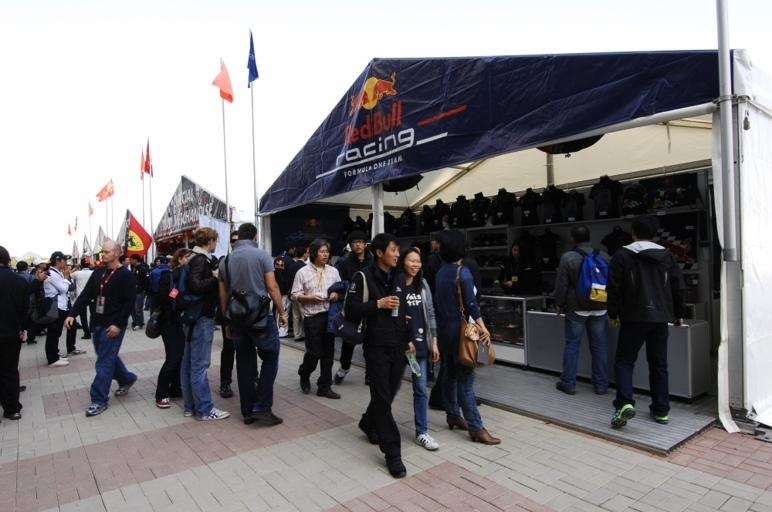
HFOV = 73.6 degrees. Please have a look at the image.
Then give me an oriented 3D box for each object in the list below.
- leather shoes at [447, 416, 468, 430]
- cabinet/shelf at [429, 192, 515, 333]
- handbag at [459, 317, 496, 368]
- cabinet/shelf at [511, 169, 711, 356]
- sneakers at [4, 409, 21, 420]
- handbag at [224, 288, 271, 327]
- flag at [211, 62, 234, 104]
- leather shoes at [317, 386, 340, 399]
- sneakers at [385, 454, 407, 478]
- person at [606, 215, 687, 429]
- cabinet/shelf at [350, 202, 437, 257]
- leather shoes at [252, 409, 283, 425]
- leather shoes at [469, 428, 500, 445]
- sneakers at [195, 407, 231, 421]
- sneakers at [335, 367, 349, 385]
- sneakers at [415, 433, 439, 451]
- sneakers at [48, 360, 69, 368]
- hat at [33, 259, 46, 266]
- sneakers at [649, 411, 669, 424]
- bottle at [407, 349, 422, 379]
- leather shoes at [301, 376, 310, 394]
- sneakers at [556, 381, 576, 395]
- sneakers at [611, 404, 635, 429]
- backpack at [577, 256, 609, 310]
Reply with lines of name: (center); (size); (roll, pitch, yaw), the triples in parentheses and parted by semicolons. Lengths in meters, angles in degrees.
leather shoes: (0.917, 2.191, 6.670); (0.328, 0.150, 0.118); (-2, -1, 3)
cabinet/shelf: (1.761, 0.316, 9.332); (1.401, 2.328, 0.771); (9, 26, 43)
handbag: (1.060, 1.080, 6.146); (0.395, 0.566, 0.351); (-3, 13, -2)
cabinet/shelf: (3.702, 0.121, 8.266); (1.099, 3.114, 3.411); (3, -3, -42)
sneakers: (-5.400, 2.332, 7.488); (0.273, 0.112, 0.097); (-1, -7, -9)
handbag: (-1.823, 0.682, 6.814); (0.590, 0.463, 0.356); (-6, 13, -16)
flag: (-4.824, -5.161, 15.176); (0.477, 1.218, 1.723); (-6, 13, -16)
leather shoes: (-0.891, 2.114, 7.928); (0.388, 0.153, 0.141); (0, -1, 14)
sneakers: (0.117, 2.390, 5.779); (0.125, 0.129, 0.331); (2, -6, -23)
person: (3.262, 0.829, 6.535); (0.886, 2.551, 1.158); (5, 14, 30)
cabinet/shelf: (0.458, -0.725, 13.270); (1.500, 1.027, 1.573); (-4, 6, -40)
leather shoes: (-1.595, 2.210, 7.035); (0.460, 0.194, 0.166); (11, 3, -14)
leather shoes: (1.209, 2.265, 6.418); (0.429, 0.202, 0.154); (-4, -4, 12)
sneakers: (-2.407, 2.245, 7.181); (0.447, 0.182, 0.176); (-2, 1, -9)
sneakers: (-0.755, 1.967, 8.449); (0.160, 0.316, 0.135); (27, 9, 28)
sneakers: (0.501, 2.289, 6.301); (0.130, 0.122, 0.317); (3, -6, -33)
sneakers: (-6.563, 2.159, 10.322); (0.305, 0.123, 0.111); (-5, 12, -31)
hat: (-7.741, 0.141, 11.500); (0.311, 0.098, 0.214); (-9, 7, -39)
sneakers: (3.497, 2.066, 6.585); (0.097, 0.099, 0.237); (0, 9, -6)
bottle: (0.335, 1.301, 6.203); (0.186, 0.312, 0.174); (-2, 13, 0)
leather shoes: (-1.270, 2.047, 8.144); (0.105, 0.296, 0.120); (-2, 7, 0)
sneakers: (2.641, 1.964, 7.583); (0.111, 0.113, 0.298); (0, 1, -9)
sneakers: (2.982, 1.996, 6.473); (0.249, 0.332, 0.292); (3, 14, 23)
backpack: (2.988, 0.369, 7.475); (0.394, 0.753, 0.374); (2, 13, 18)
